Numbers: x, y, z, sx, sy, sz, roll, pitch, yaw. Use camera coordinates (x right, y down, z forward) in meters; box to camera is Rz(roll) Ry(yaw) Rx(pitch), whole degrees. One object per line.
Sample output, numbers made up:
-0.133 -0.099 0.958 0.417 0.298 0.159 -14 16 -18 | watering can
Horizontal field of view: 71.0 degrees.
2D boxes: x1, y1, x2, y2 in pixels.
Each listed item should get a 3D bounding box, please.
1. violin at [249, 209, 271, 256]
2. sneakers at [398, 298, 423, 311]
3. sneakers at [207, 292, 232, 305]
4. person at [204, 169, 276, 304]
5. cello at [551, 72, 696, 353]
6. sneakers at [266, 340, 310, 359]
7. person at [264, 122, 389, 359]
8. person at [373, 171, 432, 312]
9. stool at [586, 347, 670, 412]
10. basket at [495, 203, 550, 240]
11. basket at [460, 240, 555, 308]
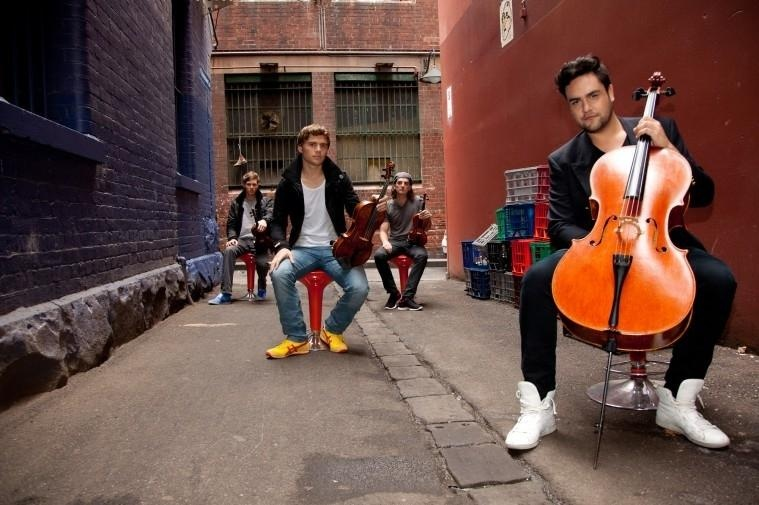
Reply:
-2.020 -0.335 8.468 0.297 0.600 0.130 -7 27 32 | violin
0.437 0.747 7.571 0.355 0.152 0.146 0 -3 20 | sneakers
-2.552 0.732 8.366 0.405 0.194 0.171 -1 -1 -4 | sneakers
-2.178 -0.247 8.660 0.823 2.197 1.402 2 2 8 | person
1.448 -0.280 3.057 0.590 1.672 0.395 3 -29 30 | cello
-0.880 0.943 5.131 0.420 0.177 0.169 3 -4 -31 | sneakers
-0.555 -0.060 5.588 1.067 2.294 1.070 0 1 -17 | person
0.308 -0.169 7.966 0.792 2.070 0.901 1 -1 -1 | person
1.894 0.846 3.877 0.673 0.416 0.711 0 4 25 | stool
1.929 -0.390 7.116 0.595 0.404 0.618 0 1 0 | basket
1.775 0.257 7.521 1.594 1.058 0.763 0 1 3 | basket
